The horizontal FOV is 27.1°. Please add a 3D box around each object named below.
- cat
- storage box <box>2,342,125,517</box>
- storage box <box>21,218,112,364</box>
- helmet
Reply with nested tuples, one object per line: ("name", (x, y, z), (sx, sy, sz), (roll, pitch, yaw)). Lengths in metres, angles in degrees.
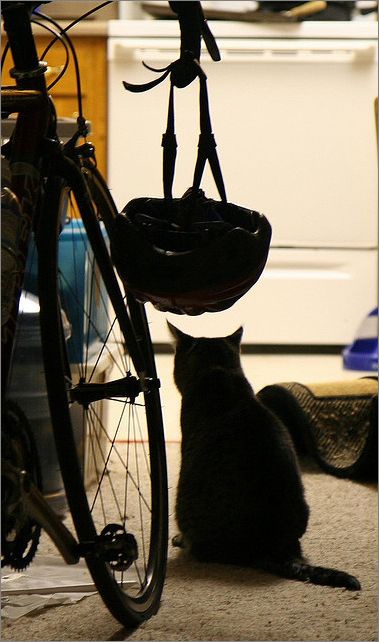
("cat", (0.058, 0.198, 1.189), (0.138, 0.264, 0.452), (-4, 21, -21))
("storage box", (-0.226, 0.168, 1.454), (0.232, 0.335, 0.326), (1, 7, 12))
("storage box", (-0.207, -0.059, 1.483), (0.211, 0.304, 0.399), (-1, 7, -9))
("helmet", (0.000, -0.064, 0.730), (0.146, 0.117, 0.105), (0, 6, 10))
